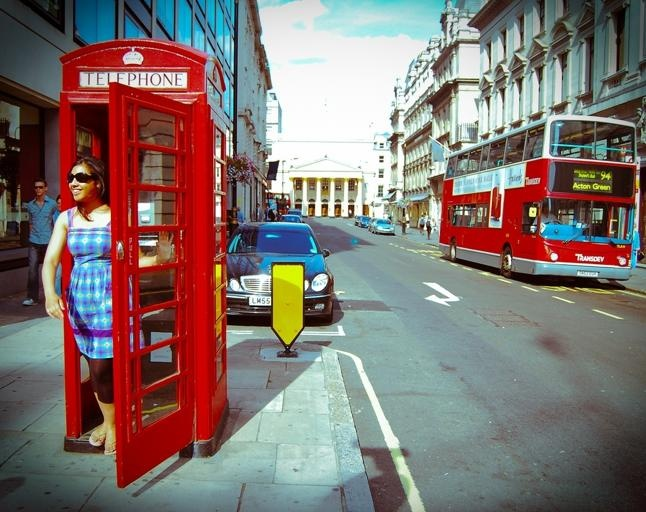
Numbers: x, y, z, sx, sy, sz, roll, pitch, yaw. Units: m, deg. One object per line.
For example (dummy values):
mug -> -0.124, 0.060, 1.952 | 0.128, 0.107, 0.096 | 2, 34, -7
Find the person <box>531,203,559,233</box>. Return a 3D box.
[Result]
person -> 6.196, -1.065, 15.407 | 0.539, 0.836, 0.227 | 4, 5, 21

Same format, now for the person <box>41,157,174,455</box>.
person -> -1.839, 0.450, 4.341 | 0.835, 2.497, 0.540 | 0, 4, 26

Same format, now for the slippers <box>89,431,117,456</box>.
slippers -> -1.859, 1.583, 4.620 | 0.137, 0.158, 0.346 | -28, -33, 17

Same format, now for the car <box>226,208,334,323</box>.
car -> -0.807, 0.319, 10.195 | 1.939, 1.859, 2.267 | -3, 5, -9
